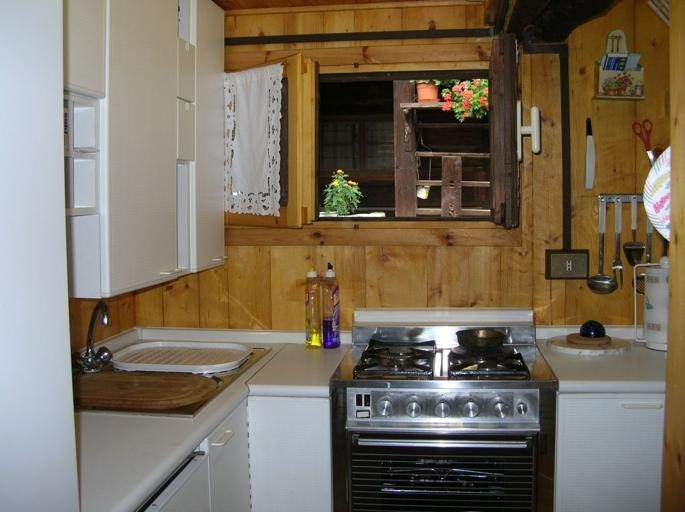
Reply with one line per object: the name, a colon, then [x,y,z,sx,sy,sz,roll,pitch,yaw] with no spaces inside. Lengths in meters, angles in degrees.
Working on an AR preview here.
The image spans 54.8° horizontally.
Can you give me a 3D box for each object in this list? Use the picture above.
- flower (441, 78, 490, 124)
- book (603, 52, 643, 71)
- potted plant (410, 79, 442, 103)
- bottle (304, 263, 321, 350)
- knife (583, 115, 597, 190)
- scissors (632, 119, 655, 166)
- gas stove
flower: [0.911,-1.150,4.888,0.335,0.251,0.379,4,20,27]
book: [1.284,-0.886,3.029,0.182,0.080,0.025,1,2,1]
potted plant: [0.534,-1.051,4.250,0.157,0.158,0.290,1,3,7]
bottle: [-0.147,0.239,3.137,0.074,0.369,0.171,0,2,-3]
knife: [1.146,-0.477,3.054,0.051,0.335,0.084,1,2,24]
scissors: [1.384,-0.526,3.012,0.073,0.242,0.012,-15,-3,29]
gas stove: [0.414,0.504,2.801,0.876,0.358,0.576,1,3,7]
